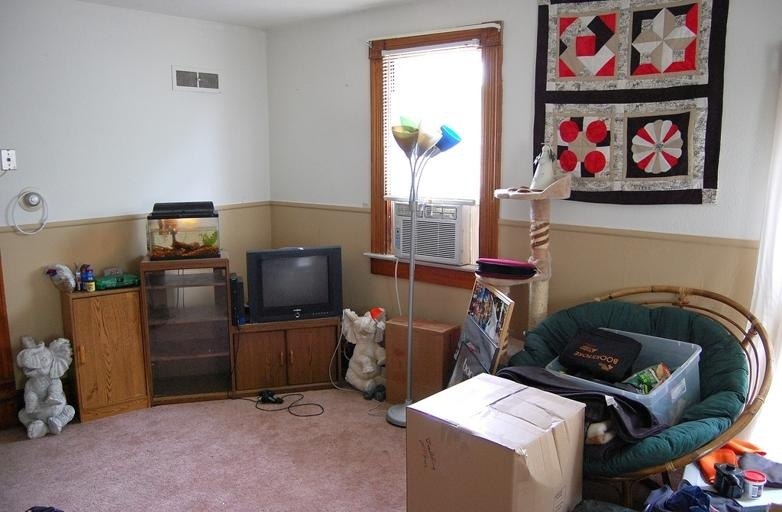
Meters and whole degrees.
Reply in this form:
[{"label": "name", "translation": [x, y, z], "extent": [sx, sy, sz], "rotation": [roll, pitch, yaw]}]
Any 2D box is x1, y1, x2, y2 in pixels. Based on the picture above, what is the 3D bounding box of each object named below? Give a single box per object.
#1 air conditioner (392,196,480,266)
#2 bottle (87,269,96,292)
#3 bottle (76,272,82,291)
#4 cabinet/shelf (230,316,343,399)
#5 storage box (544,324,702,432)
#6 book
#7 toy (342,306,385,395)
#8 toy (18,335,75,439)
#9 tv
[{"label": "air conditioner", "translation": [0.386, -0.292, 4.979], "extent": [0.931, 0.795, 0.526], "rotation": [6, 12, 29]}, {"label": "bottle", "translation": [-2.467, 0.199, 4.509], "extent": [0.086, 0.162, 0.140], "rotation": [-6, 13, -29]}, {"label": "bottle", "translation": [-2.559, 0.205, 4.517], "extent": [0.044, 0.136, 0.073], "rotation": [-6, 13, -26]}, {"label": "cabinet/shelf", "translation": [-0.971, 0.886, 4.897], "extent": [0.719, 0.504, 0.258], "rotation": [-1, 3, -14]}, {"label": "storage box", "translation": [1.634, 0.779, 3.765], "extent": [0.709, 0.442, 0.700], "rotation": [5, 13, 45]}, {"label": "book", "translation": [0.689, 0.593, 4.113], "extent": [0.040, 0.593, 0.821], "rotation": [12, -13, -12]}, {"label": "toy", "translation": [-0.245, 0.845, 4.962], "extent": [0.384, 0.706, 0.413], "rotation": [-1, 12, -4]}, {"label": "toy", "translation": [-2.768, 1.050, 4.416], "extent": [0.424, 0.698, 0.350], "rotation": [-6, 13, -27]}, {"label": "tv", "translation": [-0.871, 0.205, 5.149], "extent": [1.090, 0.877, 0.607], "rotation": [-2, 5, -16]}]
